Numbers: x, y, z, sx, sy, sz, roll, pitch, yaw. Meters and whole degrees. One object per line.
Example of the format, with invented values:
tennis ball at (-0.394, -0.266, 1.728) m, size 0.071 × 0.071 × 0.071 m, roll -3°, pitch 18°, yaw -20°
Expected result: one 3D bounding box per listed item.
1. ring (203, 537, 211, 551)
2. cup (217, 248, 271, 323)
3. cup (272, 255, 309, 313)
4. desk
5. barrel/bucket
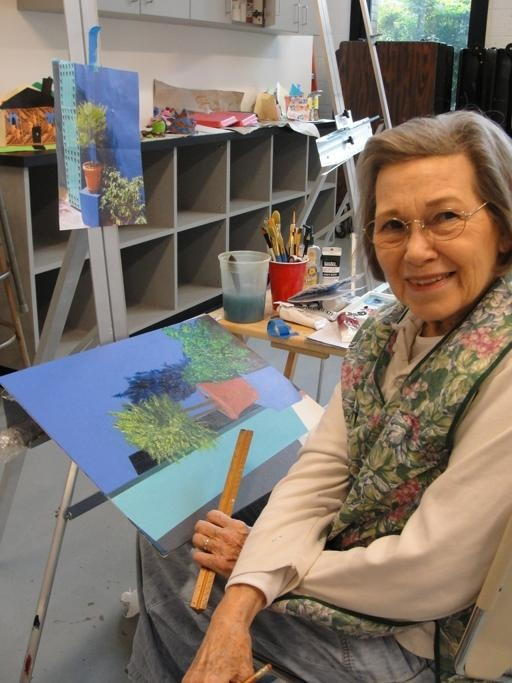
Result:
ring at (-0.071, 0.297, 0.786) m, size 0.005 × 0.013 × 0.011 m, roll 3°, pitch -10°, yaw 0°
cup at (-0.041, -0.177, 1.677) m, size 0.216 × 0.226 × 0.208 m, roll -1°, pitch 21°, yaw 0°
cup at (0.072, -0.183, 1.730) m, size 0.137 × 0.135 × 0.129 m, roll 1°, pitch 21°, yaw 0°
desk at (0.132, 0.058, 1.750) m, size 0.456 × 0.402 × 0.445 m, roll 20°, pitch 32°, yaw 21°
barrel/bucket at (-0.037, -0.179, 1.669) m, size 0.216 × 0.226 × 0.208 m, roll 0°, pitch 20°, yaw 0°
